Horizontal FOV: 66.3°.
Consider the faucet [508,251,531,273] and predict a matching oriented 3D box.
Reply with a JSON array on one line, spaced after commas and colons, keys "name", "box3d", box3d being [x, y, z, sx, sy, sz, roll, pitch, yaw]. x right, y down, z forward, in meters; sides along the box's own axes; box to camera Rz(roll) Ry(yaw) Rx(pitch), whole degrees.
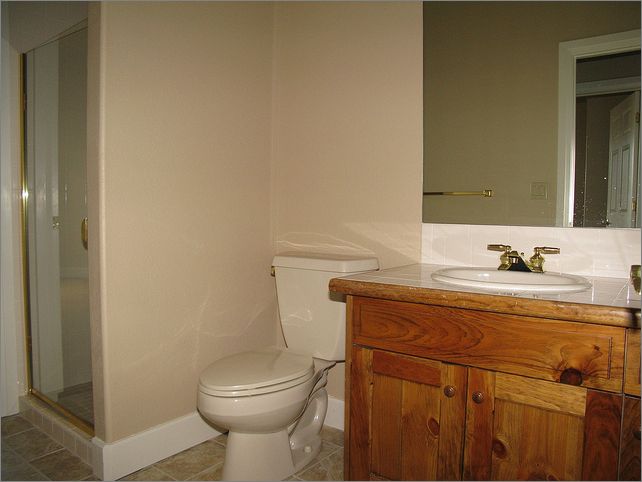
[{"name": "faucet", "box3d": [0.841, 0.095, 2.077, 0.094, 0.076, 0.060, 5, 8, 26]}]
